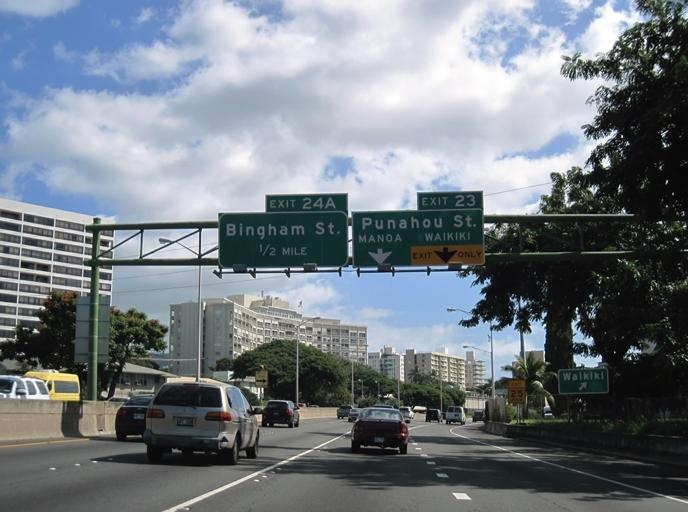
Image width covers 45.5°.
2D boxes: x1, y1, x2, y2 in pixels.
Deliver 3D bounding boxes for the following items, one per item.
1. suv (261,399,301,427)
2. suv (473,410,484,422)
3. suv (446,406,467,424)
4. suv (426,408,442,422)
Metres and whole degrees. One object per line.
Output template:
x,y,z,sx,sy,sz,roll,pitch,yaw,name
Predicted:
-4.298,11.014,55.055,2.103,1.991,5.091,0,-7,8,suv
15.995,19.200,97.850,0.977,0.991,1.794,0,-5,8,suv
11.481,16.391,84.132,1.217,1.342,2.540,-1,-5,16,suv
9.573,17.074,87.502,1.144,1.128,2.145,0,-3,16,suv
